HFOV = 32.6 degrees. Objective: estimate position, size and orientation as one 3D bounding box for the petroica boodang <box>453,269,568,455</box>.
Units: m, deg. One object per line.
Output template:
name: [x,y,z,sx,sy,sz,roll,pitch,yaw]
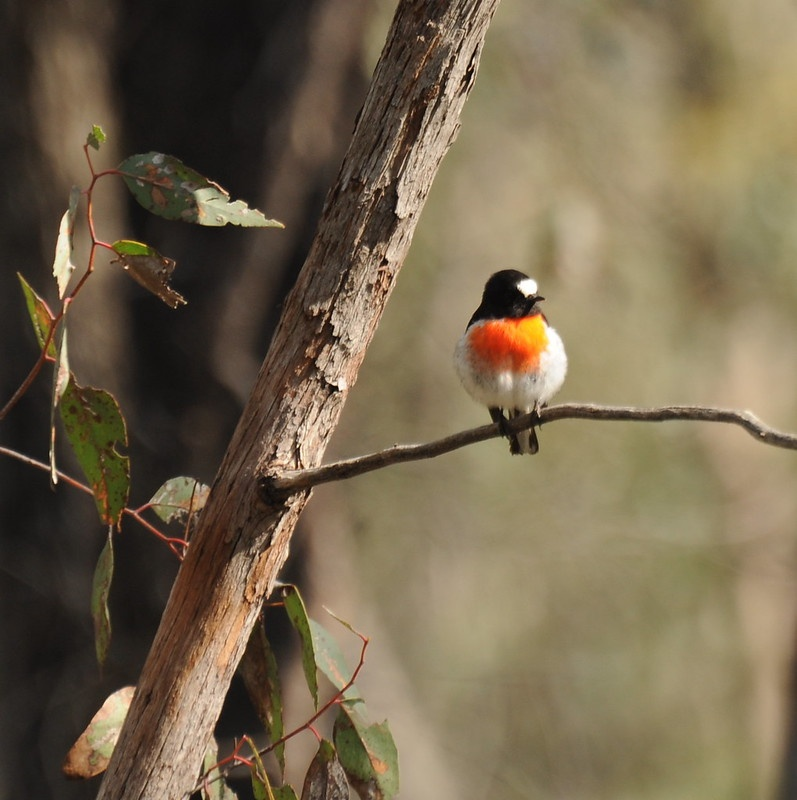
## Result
petroica boodang: [0.313,-0.152,3.796,0.248,0.513,0.560,-3,-76,3]
